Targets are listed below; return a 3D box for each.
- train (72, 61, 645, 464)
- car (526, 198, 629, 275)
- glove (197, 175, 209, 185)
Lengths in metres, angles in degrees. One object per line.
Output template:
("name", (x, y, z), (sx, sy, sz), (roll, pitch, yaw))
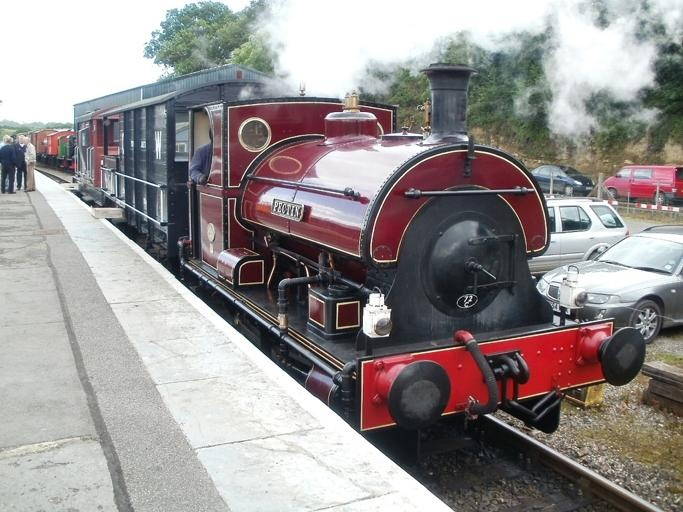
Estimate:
("train", (-0.837, -1.272, 9.184), (2.929, 3.625, 11.219), (-4, 13, -27))
("car", (4.142, -0.459, 10.077), (2.598, 1.312, 1.496), (0, 4, -14))
("glove", (-1.914, -1.046, 7.520), (0.152, 0.144, 0.153), (6, -3, -34))
